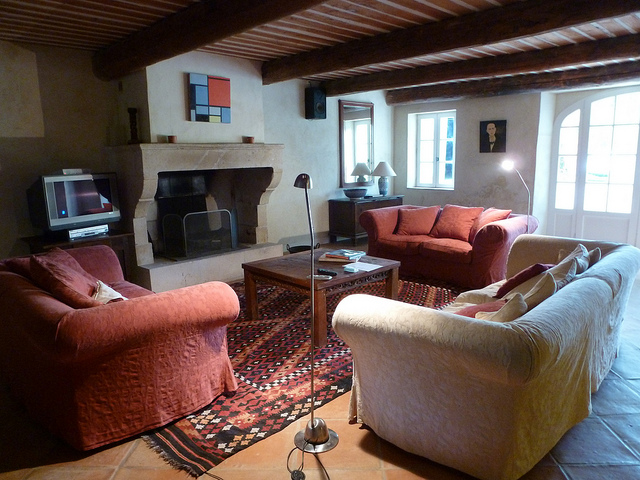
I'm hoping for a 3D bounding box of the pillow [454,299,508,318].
[{"bbox_3d":[1.138,0.461,3.265,0.179,0.057,0.190,-15,-9,-41],"label":"pillow"}]

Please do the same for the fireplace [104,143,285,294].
[{"bbox_3d":[-1.515,-0.434,6.057,1.871,1.672,1.012,-10,18,-37],"label":"fireplace"}]

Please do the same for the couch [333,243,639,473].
[{"bbox_3d":[0.917,0.489,2.915,1.052,0.764,2.058,11,17,42],"label":"couch"}]

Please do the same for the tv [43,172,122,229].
[{"bbox_3d":[-2.636,-0.454,5.164,0.376,0.686,0.741,14,20,42],"label":"tv"}]

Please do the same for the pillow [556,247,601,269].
[{"bbox_3d":[2.022,0.129,3.611,0.248,0.086,0.243,-23,20,-40],"label":"pillow"}]

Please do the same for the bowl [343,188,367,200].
[{"bbox_3d":[0.572,-0.755,7.726,0.371,0.173,0.279,1,11,4],"label":"bowl"}]

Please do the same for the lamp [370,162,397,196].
[{"bbox_3d":[1.053,-1.047,8.077,0.517,0.671,0.504,-8,10,-35],"label":"lamp"}]

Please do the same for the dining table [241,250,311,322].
[{"bbox_3d":[-0.299,0.524,4.664,0.865,0.596,0.566,9,14,37],"label":"dining table"}]

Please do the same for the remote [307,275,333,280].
[{"bbox_3d":[0.031,0.331,4.208,0.161,0.016,0.138,1,10,3],"label":"remote"}]

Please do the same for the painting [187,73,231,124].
[{"bbox_3d":[-1.335,-1.696,5.721,0.549,0.561,0.050,6,24,8],"label":"painting"}]

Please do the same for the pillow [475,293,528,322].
[{"bbox_3d":[1.093,0.379,2.796,0.211,0.083,0.208,-20,5,-25],"label":"pillow"}]

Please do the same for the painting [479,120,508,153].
[{"bbox_3d":[2.712,-1.613,7.322,0.053,0.566,0.474,-13,17,-39],"label":"painting"}]

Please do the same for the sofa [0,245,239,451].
[{"bbox_3d":[-1.396,0.767,3.382,1.176,1.057,2.021,-9,11,-42],"label":"sofa"}]

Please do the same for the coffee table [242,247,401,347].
[{"bbox_3d":[0.137,0.332,4.553,1.028,0.487,1.010,-9,10,-42],"label":"coffee table"}]

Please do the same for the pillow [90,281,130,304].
[{"bbox_3d":[-1.647,0.411,3.640,0.211,0.082,0.216,19,7,7],"label":"pillow"}]
